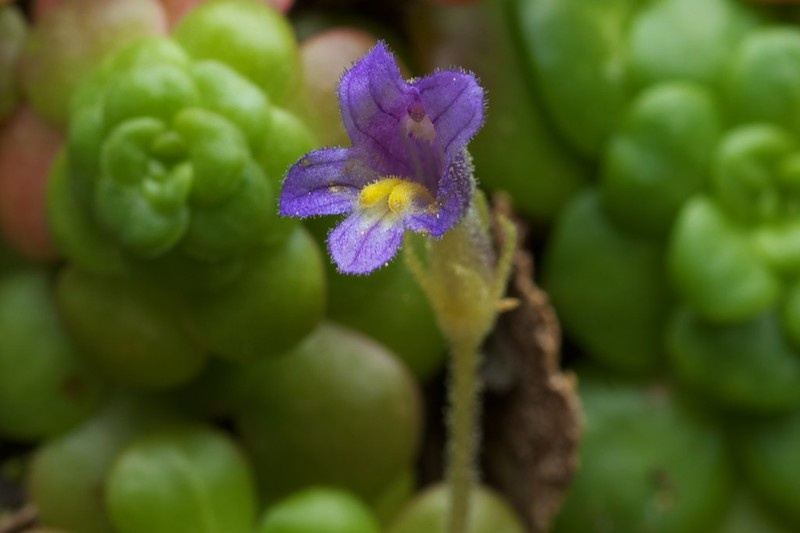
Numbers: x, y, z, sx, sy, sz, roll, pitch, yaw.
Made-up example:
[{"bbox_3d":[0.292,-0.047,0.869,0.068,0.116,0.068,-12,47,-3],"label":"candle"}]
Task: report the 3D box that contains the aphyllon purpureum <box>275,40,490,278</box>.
[{"bbox_3d":[-0.019,-0.139,1.109,0.212,0.174,0.237,29,56,30],"label":"aphyllon purpureum"}]
